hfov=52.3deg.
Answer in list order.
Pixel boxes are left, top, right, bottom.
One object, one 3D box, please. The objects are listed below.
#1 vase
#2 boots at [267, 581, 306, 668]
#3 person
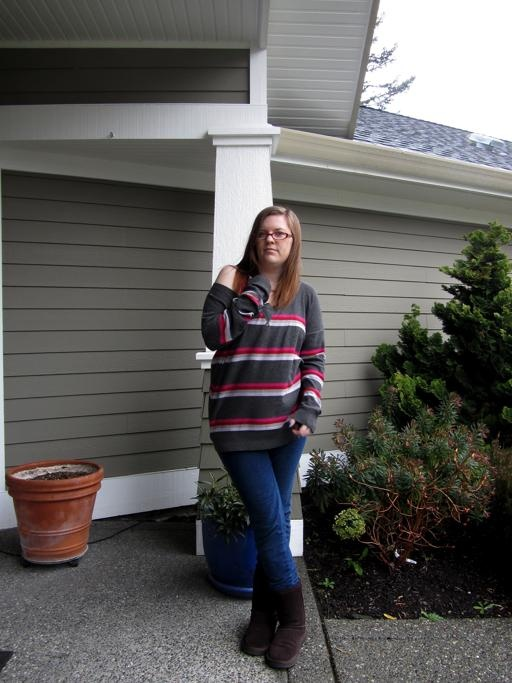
[{"bbox_3d":[-1.083,0.868,2.869,0.524,0.420,0.505,2,2,9],"label":"vase"},{"bbox_3d":[0.110,1.012,1.862,0.104,0.232,0.255,-8,-8,19],"label":"boots"},{"bbox_3d":[0.027,0.334,1.815,0.463,1.608,0.256,2,-1,-14],"label":"person"}]
